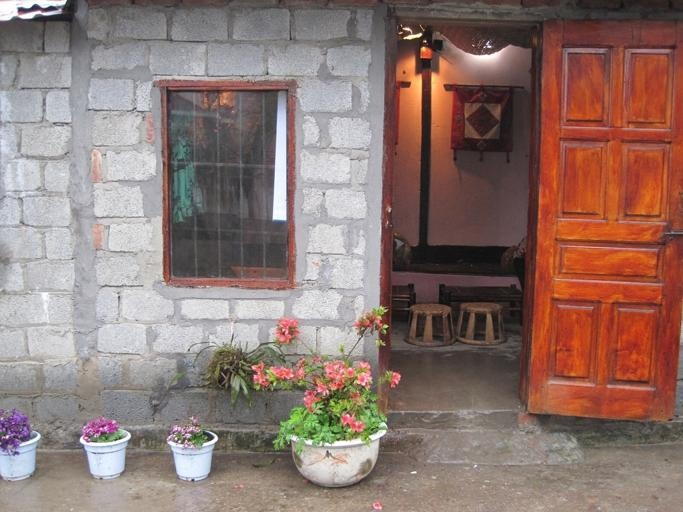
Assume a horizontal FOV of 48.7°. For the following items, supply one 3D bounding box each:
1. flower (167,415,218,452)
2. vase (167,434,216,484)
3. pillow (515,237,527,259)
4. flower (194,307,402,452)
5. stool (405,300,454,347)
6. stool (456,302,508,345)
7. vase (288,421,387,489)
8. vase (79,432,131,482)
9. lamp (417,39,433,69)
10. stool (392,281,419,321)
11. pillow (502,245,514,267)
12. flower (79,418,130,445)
[{"bbox_3d":[-1.090,1.280,5.535,0.227,0.188,0.296,4,5,43],"label":"flower"},{"bbox_3d":[-1.093,1.495,5.635,0.398,0.277,0.387,0,-1,26],"label":"vase"},{"bbox_3d":[2.250,-0.110,9.595,0.133,0.255,0.581,2,3,11],"label":"pillow"},{"bbox_3d":[-0.295,0.958,5.605,1.350,1.174,0.864,1,4,-6],"label":"flower"},{"bbox_3d":[0.921,0.732,8.123,0.485,0.285,0.473,-5,7,-33],"label":"stool"},{"bbox_3d":[1.481,0.732,8.107,0.512,0.304,0.489,0,4,-2],"label":"stool"},{"bbox_3d":[-0.059,1.484,5.648,0.809,0.362,0.776,-3,-2,11],"label":"vase"},{"bbox_3d":[-1.749,1.454,5.528,0.334,0.235,0.320,1,-4,-5],"label":"vase"},{"bbox_3d":[1.099,-2.661,9.972,0.206,0.347,0.312,1,4,4],"label":"lamp"},{"bbox_3d":[0.707,0.591,8.975,0.401,0.528,0.421,0,18,3],"label":"stool"},{"bbox_3d":[2.163,-0.005,9.879,0.077,0.241,0.194,28,-11,-26],"label":"pillow"},{"bbox_3d":[-1.774,1.314,5.641,0.292,0.124,0.281,2,2,-6],"label":"flower"}]
